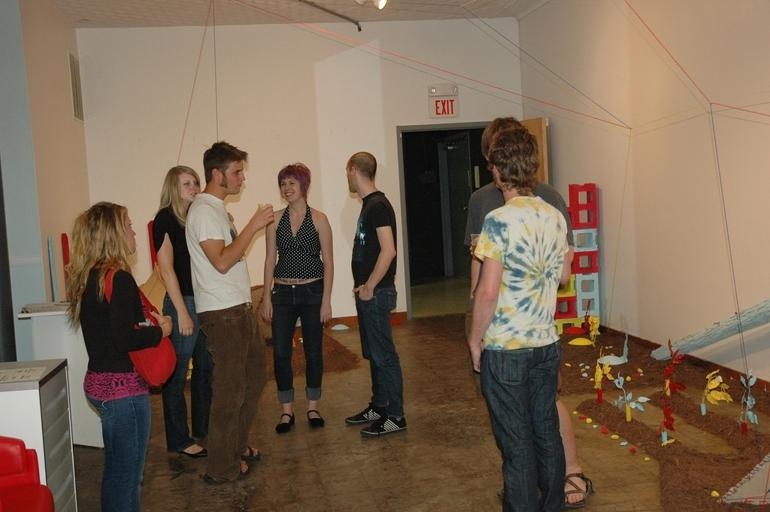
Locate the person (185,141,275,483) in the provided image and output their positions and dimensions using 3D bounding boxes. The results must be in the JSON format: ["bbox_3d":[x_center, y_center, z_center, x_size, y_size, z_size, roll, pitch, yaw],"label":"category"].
[{"bbox_3d":[-1.048,0.582,3.927,0.572,1.853,0.386,-8,12,-21],"label":"person"}]

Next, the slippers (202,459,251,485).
[{"bbox_3d":[-1.088,1.500,3.977,0.330,0.085,0.124,-14,30,-35],"label":"slippers"}]

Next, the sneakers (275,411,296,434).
[{"bbox_3d":[-0.817,1.328,4.608,0.077,0.075,0.213,-2,-3,5],"label":"sneakers"}]

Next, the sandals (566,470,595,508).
[{"bbox_3d":[1.172,1.426,3.535,0.102,0.119,0.305,-6,-6,20],"label":"sandals"}]

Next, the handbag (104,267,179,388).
[{"bbox_3d":[-1.344,0.438,3.255,0.220,0.631,0.372,-23,0,20],"label":"handbag"}]

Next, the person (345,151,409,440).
[{"bbox_3d":[-0.131,0.441,4.451,0.479,1.838,0.408,-3,11,1],"label":"person"}]

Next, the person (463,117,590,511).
[{"bbox_3d":[0.903,0.300,3.710,0.743,2.320,1.118,-2,12,7],"label":"person"}]

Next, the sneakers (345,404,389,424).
[{"bbox_3d":[-0.155,1.279,4.712,0.396,0.168,0.132,0,2,-3],"label":"sneakers"}]

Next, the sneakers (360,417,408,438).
[{"bbox_3d":[-0.019,1.304,4.514,0.378,0.161,0.138,-1,4,-9],"label":"sneakers"}]

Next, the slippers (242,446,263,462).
[{"bbox_3d":[-0.975,1.430,4.171,0.067,0.041,0.159,12,12,16],"label":"slippers"}]

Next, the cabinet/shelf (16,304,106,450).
[{"bbox_3d":[-2.500,1.105,4.624,0.535,0.623,0.507,-16,1,44],"label":"cabinet/shelf"}]

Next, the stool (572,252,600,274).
[{"bbox_3d":[2.344,0.077,6.861,0.282,0.271,0.281,0,7,-6],"label":"stool"}]

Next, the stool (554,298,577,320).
[{"bbox_3d":[2.206,0.652,7.067,0.274,0.267,0.272,1,1,11],"label":"stool"}]
